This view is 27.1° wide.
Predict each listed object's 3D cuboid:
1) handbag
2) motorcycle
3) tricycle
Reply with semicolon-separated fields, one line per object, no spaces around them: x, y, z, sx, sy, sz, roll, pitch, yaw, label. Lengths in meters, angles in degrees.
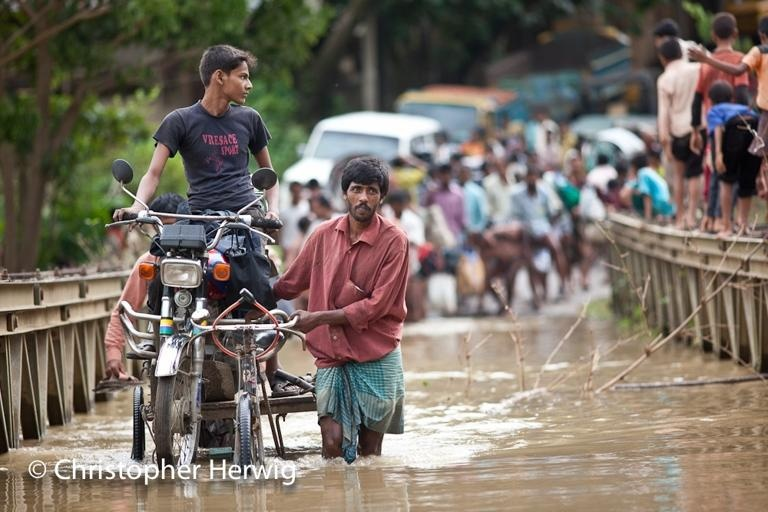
-1.384;0.139;16.342;0.397;0.875;0.832;-10;-7;19;handbag
-1.878;0.624;16.080;1.649;3.138;1.304;-5;12;-8;motorcycle
-1.616;1.361;16.742;1.374;1.171;2.025;-2;-6;5;tricycle
